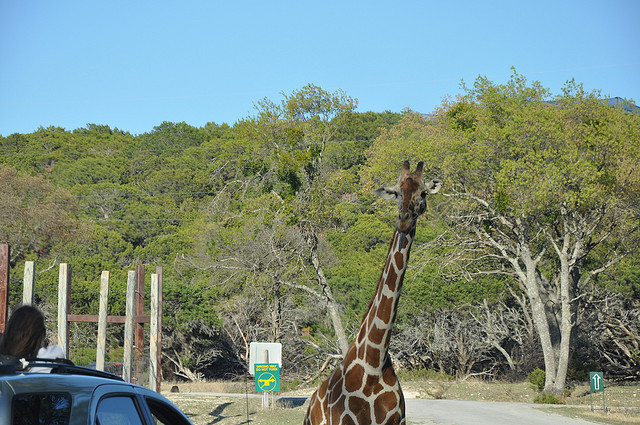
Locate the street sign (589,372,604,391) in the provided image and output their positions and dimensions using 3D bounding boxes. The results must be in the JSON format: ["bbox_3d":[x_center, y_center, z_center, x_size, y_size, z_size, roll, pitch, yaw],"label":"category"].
[{"bbox_3d":[15.674,9.586,47.634,0.652,0.975,0.624,-5,-15,14],"label":"street sign"}]

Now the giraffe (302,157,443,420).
[{"bbox_3d":[2.540,3.478,37.039,5.678,10.939,1.913,-12,-17,38],"label":"giraffe"}]
